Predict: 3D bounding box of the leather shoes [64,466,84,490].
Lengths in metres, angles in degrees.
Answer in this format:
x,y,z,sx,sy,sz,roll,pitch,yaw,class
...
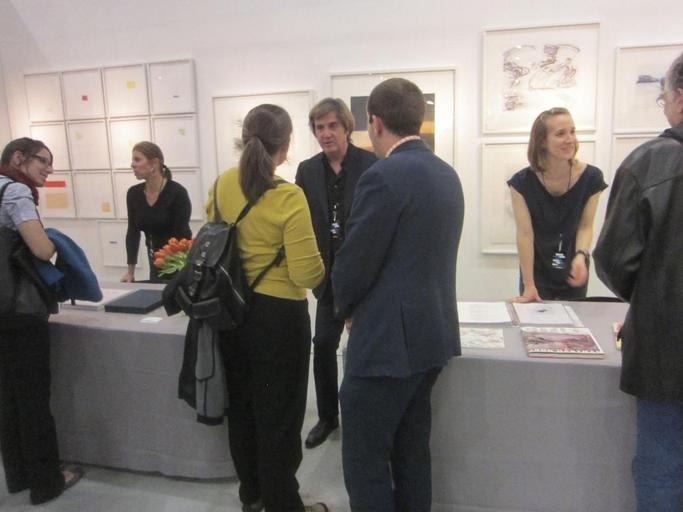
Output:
x,y,z,sx,sy,sz,roll,pitch,yaw,class
-1.639,1.338,3.205,0.055,0.065,0.164,3,10,4,leather shoes

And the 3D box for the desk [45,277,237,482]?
x,y,z,sx,sy,sz,roll,pitch,yaw,class
-1.194,0.737,3.378,1.019,0.624,1.031,2,5,17,desk

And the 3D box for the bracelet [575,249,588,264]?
x,y,z,sx,sy,sz,roll,pitch,yaw,class
1.492,0.005,3.288,0.076,0.033,0.086,11,1,36,bracelet

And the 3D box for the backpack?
x,y,z,sx,sy,sz,roll,pitch,yaw,class
-0.619,-0.008,2.690,0.573,0.744,0.334,4,13,30,backpack

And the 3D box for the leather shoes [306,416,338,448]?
x,y,z,sx,sy,sz,roll,pitch,yaw,class
-0.144,1.174,3.567,0.092,0.111,0.276,-4,8,39,leather shoes
